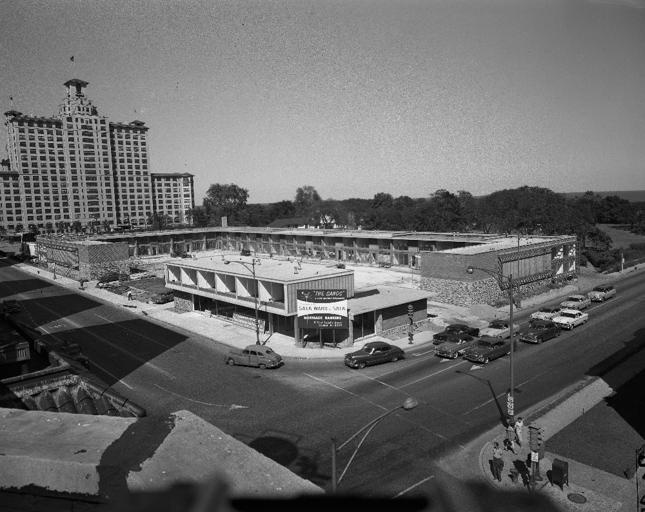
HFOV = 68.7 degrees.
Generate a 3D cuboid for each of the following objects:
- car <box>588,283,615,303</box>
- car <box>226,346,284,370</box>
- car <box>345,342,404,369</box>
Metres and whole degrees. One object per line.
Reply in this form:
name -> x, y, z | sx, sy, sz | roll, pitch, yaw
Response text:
car -> 33.239, 4.289, 56.604 | 5.012, 1.812, 2.103 | -4, 2, -42
car -> -5.179, 7.629, 36.239 | 3.934, 1.441, 1.744 | 1, -2, 16
car -> 3.843, 7.523, 35.862 | 4.156, 1.359, 1.817 | -2, 0, -30
